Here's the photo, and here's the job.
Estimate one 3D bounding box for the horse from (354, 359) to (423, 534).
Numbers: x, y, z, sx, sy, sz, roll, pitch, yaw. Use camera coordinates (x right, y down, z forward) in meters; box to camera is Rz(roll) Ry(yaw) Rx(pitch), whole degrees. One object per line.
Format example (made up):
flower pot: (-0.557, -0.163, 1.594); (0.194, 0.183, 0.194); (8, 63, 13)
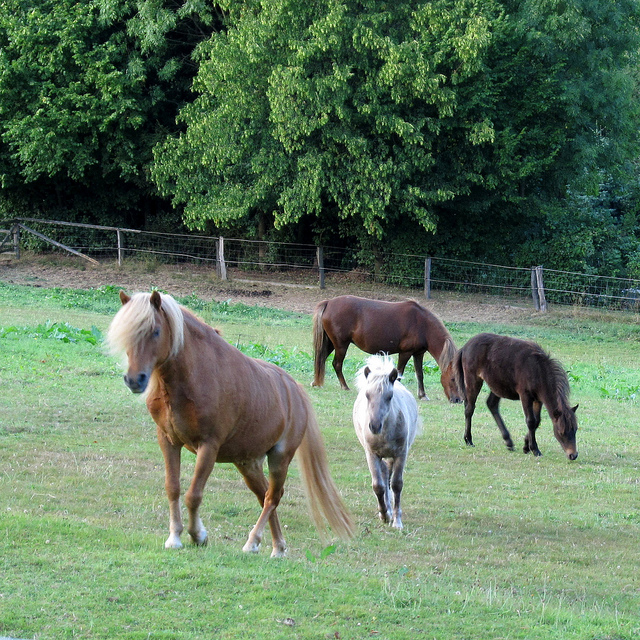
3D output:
horse: (1.160, 2.107, 22.097); (1.060, 2.721, 1.618); (0, 1, 3)

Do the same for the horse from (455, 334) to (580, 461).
horse: (3.737, 1.544, 25.329); (0.790, 2.449, 3.296); (-6, 11, -34)
